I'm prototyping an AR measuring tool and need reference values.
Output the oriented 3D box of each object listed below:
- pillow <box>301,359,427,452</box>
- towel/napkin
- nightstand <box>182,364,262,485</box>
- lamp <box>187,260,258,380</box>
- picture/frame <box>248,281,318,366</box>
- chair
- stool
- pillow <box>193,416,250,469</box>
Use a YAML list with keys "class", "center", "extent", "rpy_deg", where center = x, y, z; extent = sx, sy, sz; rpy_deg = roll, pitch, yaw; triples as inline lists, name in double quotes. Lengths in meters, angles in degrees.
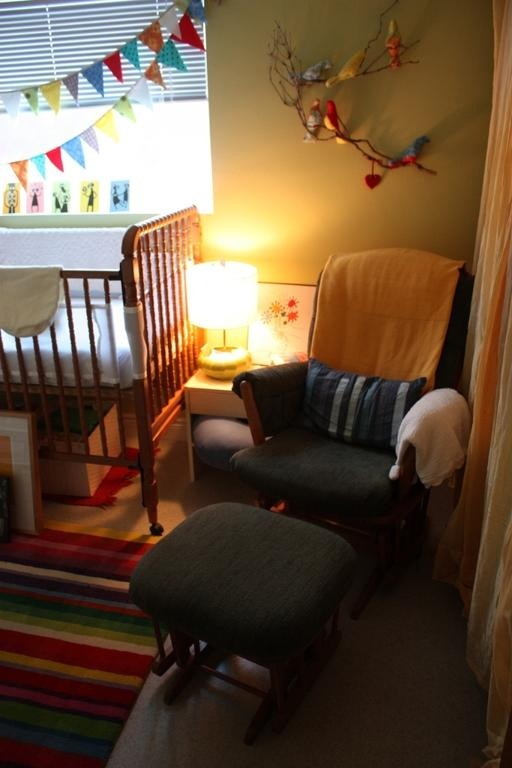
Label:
- class: "pillow"
  center: [0.378, 0.082, 1.919]
  extent: [0.273, 0.191, 0.100]
  rpy_deg: [8, -5, 34]
- class: "towel/napkin"
  center: [0.516, 0.161, 1.647]
  extent: [0.205, 0.243, 0.305]
  rpy_deg: [8, 19, 21]
- class: "nightstand"
  center: [-0.150, 0.195, 2.596]
  extent: [0.450, 0.638, 0.405]
  rpy_deg: [0, 20, 3]
- class: "lamp"
  center: [-0.119, -0.254, 2.451]
  extent: [0.260, 0.435, 0.255]
  rpy_deg: [-5, 20, -22]
- class: "picture/frame"
  center: [0.132, -0.294, 2.565]
  extent: [0.363, 0.433, 0.027]
  rpy_deg: [5, 11, 10]
- class: "chair"
  center: [0.359, 0.030, 2.171]
  extent: [0.894, 1.264, 1.160]
  rpy_deg: [11, 28, 31]
- class: "stool"
  center: [-0.024, 0.561, 1.374]
  extent: [0.454, 0.409, 0.405]
  rpy_deg: [11, 29, 25]
- class: "pillow"
  center: [-0.137, 0.228, 2.332]
  extent: [0.281, 0.156, 0.221]
  rpy_deg: [3, 14, 0]
